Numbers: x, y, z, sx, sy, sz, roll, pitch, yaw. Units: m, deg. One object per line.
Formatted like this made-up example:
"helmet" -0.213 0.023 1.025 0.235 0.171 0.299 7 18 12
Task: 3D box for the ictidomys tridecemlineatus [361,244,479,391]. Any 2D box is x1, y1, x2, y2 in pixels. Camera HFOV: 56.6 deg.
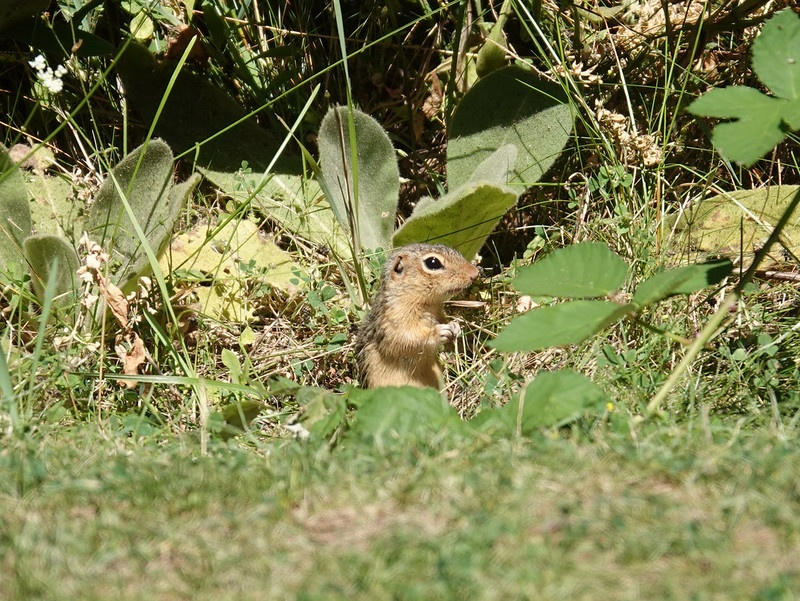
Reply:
"ictidomys tridecemlineatus" 0.054 0.074 2.808 0.432 0.461 0.407 8 31 6
